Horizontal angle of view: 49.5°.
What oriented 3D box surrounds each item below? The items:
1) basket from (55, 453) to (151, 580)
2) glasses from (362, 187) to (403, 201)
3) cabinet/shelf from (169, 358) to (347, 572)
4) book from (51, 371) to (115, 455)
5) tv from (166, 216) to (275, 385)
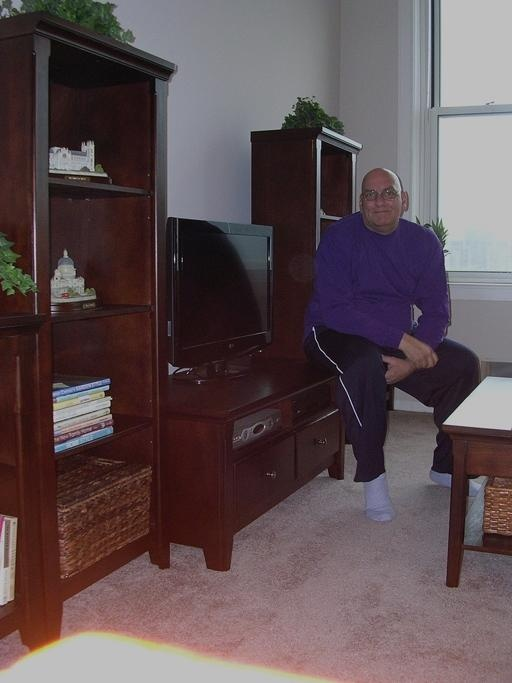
[{"bbox_3d":[-0.386,0.426,1.363,0.127,0.211,0.207,3,-1,21],"label":"basket"},{"bbox_3d":[0.489,-0.579,2.205,0.144,0.054,0.060,0,2,10],"label":"glasses"},{"bbox_3d":[0.002,0.362,1.933,0.333,0.456,0.828,3,8,31],"label":"cabinet/shelf"},{"bbox_3d":[-0.408,0.157,1.273,0.108,0.181,0.128,-2,-4,-25],"label":"book"},{"bbox_3d":[-0.137,-0.145,2.050,0.135,0.553,0.622,7,11,33],"label":"tv"}]
